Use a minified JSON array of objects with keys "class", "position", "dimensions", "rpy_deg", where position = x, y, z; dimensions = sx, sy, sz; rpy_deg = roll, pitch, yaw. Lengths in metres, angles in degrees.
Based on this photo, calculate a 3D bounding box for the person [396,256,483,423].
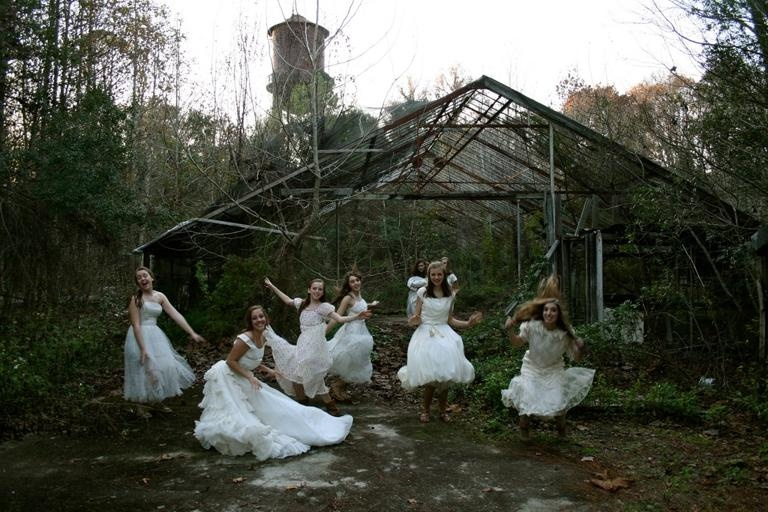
[{"class":"person","position":[0.870,1.350,10.493],"dimensions":[1.167,2.566,0.586],"rpy_deg":[-1,-6,8]}]

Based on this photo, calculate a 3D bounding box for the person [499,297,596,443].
[{"class":"person","position":[2.547,1.830,10.041],"dimensions":[1.397,2.149,1.173],"rpy_deg":[-8,-30,18]}]
